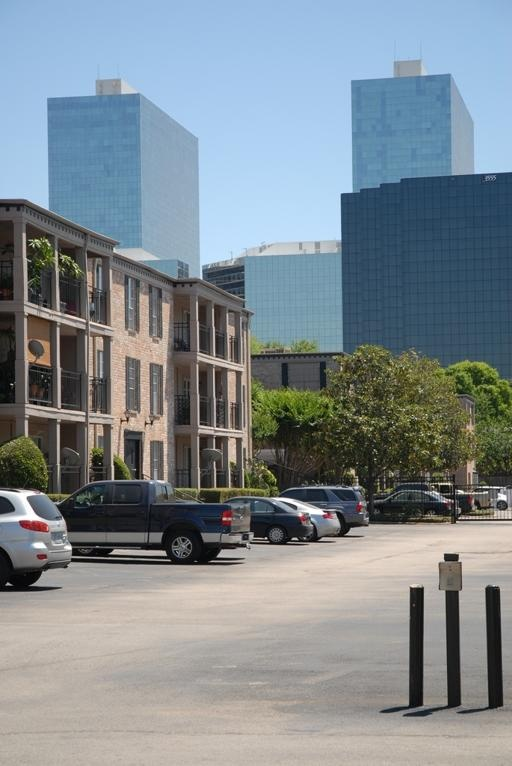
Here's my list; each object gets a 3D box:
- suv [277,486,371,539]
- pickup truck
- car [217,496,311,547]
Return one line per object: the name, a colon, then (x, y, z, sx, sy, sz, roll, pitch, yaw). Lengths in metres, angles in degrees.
suv: (1.795, 3.420, 39.193, 2.323, 1.028, 1.138, 2, -3, 11)
pickup truck: (-1.704, 2.375, 25.577, 2.911, 1.162, 1.490, 1, -3, 17)
car: (0.098, 3.126, 33.116, 2.163, 0.882, 0.982, 4, -4, 12)
